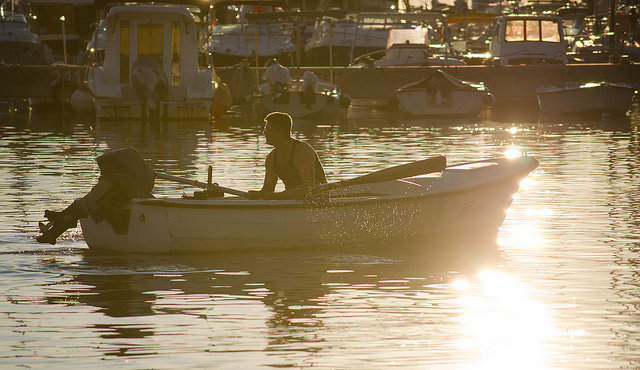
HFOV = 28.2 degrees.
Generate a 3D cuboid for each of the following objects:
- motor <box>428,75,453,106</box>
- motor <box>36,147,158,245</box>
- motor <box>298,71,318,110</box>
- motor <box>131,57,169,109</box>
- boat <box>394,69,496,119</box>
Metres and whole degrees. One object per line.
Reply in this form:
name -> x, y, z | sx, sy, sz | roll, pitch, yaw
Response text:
motor -> 4.410, -3.454, 46.503 | 1.391, 1.271, 0.737 | -1, 3, 5
motor -> -4.559, 0.203, 26.511 | 2.239, 1.922, 0.583 | -2, 6, -8
motor -> -0.397, -3.322, 44.652 | 0.626, 1.326, 0.654 | 1, 7, 23
motor -> -5.549, -3.423, 42.711 | 1.142, 1.639, 1.459 | 0, 0, -28
boat -> 4.422, -3.314, 46.458 | 2.942, 1.706, 0.707 | 0, 6, 14
